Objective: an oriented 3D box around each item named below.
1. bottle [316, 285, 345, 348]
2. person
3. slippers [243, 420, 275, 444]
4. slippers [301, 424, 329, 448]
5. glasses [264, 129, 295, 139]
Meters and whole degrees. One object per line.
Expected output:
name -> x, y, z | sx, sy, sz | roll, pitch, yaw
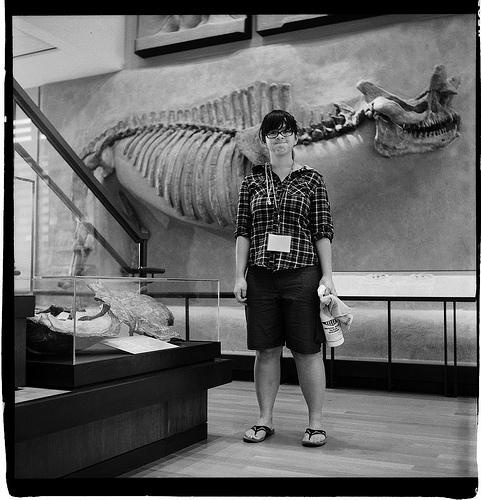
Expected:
bottle -> 0.383, 0.284, 2.268 | 0.102, 0.255, 0.210 | 0, -5, 10
person -> 0.186, 0.113, 2.330 | 0.421, 1.413, 0.252 | 2, -5, -3
slippers -> 0.089, 0.786, 2.292 | 0.084, 0.061, 0.183 | -4, -8, 43
slippers -> 0.309, 0.776, 2.210 | 0.105, 0.063, 0.104 | 1, -6, 4
glasses -> 0.166, -0.496, 2.291 | 0.120, 0.040, 0.040 | 1, -5, 6
